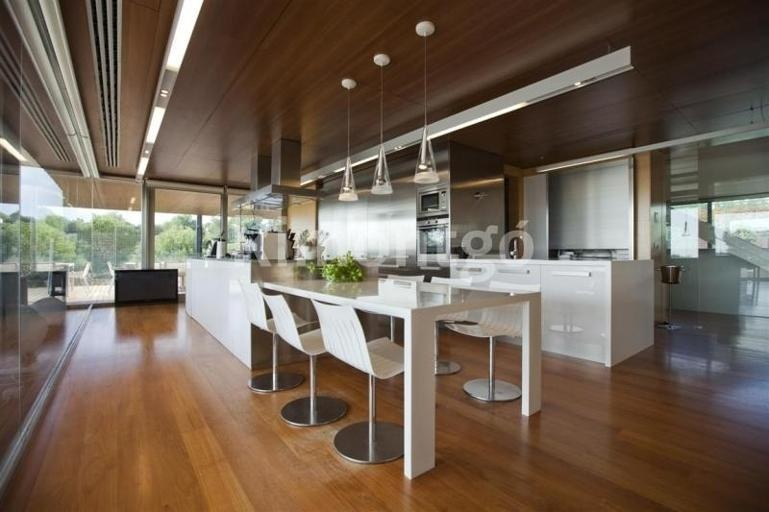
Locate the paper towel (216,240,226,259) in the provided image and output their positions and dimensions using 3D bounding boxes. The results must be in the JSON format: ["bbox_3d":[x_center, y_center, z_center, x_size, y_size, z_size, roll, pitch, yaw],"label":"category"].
[{"bbox_3d":[-2.401,-0.107,7.036,0.134,0.238,0.406,-2,3,-20],"label":"paper towel"}]

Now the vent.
[{"bbox_3d":[-1.658,-1.188,7.264,0.814,0.776,1.546,-1,-2,-36],"label":"vent"}]

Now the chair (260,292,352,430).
[{"bbox_3d":[-0.686,0.934,4.509,0.778,1.127,0.621,-3,4,-39],"label":"chair"}]

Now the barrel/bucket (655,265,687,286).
[{"bbox_3d":[4.109,0.277,6.828,0.316,0.239,0.443,5,-6,-17],"label":"barrel/bucket"}]

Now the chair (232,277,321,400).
[{"bbox_3d":[-1.118,0.817,5.059,0.564,1.061,0.768,6,4,43],"label":"chair"}]

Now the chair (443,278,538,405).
[{"bbox_3d":[0.977,0.870,4.770,0.722,1.045,0.656,-6,0,-4],"label":"chair"}]

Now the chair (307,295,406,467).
[{"bbox_3d":[-0.116,1.015,4.155,0.893,1.251,0.829,-2,7,-25],"label":"chair"}]
